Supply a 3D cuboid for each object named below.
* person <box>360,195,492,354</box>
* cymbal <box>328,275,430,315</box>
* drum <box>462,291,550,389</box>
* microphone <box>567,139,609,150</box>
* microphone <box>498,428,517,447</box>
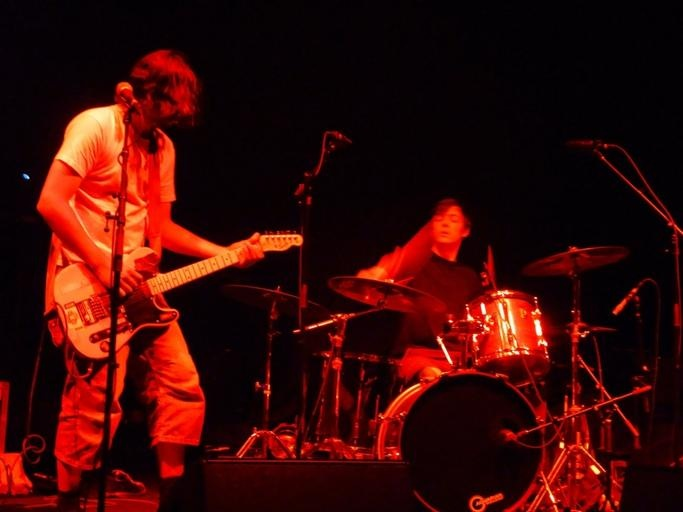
[{"bbox_3d":[0.961,0.194,6.533,1.550,1.368,0.832,8,2,-12],"label":"person"},{"bbox_3d":[0.353,0.274,5.612,0.864,0.265,0.667,1,-24,10],"label":"cymbal"},{"bbox_3d":[1.235,0.663,5.541,0.668,0.642,0.677,10,-36,-7],"label":"drum"},{"bbox_3d":[1.842,-0.830,5.302,0.277,0.075,0.040,1,-24,11],"label":"microphone"},{"bbox_3d":[1.099,1.180,4.658,0.123,0.094,0.071,4,-23,6],"label":"microphone"}]
